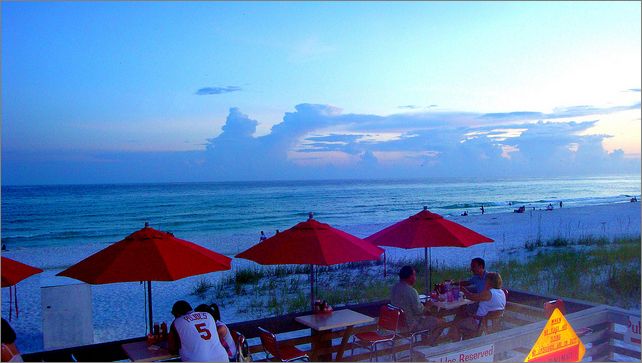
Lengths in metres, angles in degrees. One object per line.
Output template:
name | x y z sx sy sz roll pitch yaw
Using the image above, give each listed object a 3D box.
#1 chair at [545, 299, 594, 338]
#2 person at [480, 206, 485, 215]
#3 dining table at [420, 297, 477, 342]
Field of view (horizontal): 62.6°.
chair | 10.044 5.581 21.318 1.292 1.968 1.224 -8 -2 -19
person | 22.254 3.966 72.760 0.273 0.835 0.885 -18 19 -35
dining table | 5.562 6.000 23.658 2.033 1.658 1.910 -3 5 -29
